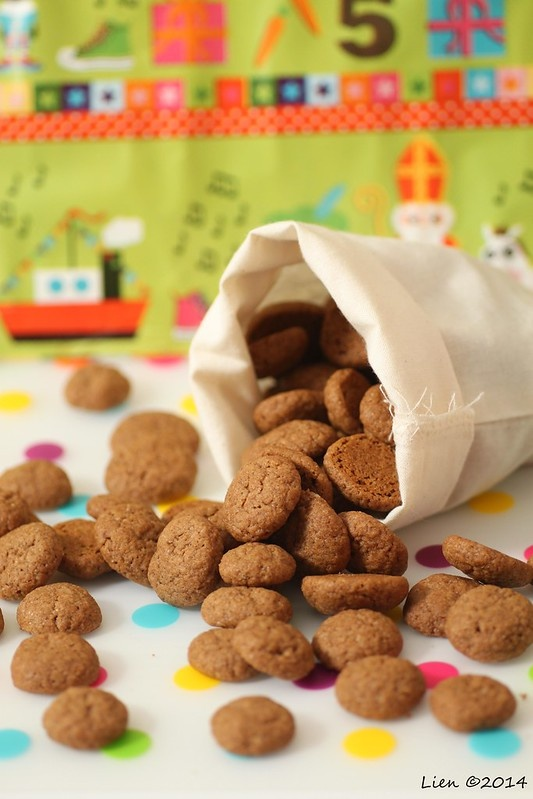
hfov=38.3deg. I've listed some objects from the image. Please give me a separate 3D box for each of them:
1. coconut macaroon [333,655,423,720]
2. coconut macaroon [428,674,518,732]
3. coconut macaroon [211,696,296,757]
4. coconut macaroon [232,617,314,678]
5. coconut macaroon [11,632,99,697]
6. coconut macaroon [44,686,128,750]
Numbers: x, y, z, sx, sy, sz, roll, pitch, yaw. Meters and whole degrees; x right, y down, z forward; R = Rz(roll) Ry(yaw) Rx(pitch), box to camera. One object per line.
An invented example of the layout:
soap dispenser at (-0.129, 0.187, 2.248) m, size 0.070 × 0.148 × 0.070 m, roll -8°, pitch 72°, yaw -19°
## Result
coconut macaroon at (0.100, 0.254, 0.680) m, size 0.072 × 0.033 × 0.045 m, roll 3°, pitch 21°, yaw 10°
coconut macaroon at (0.176, 0.262, 0.665) m, size 0.066 × 0.026 × 0.057 m, roll 12°, pitch 23°, yaw 31°
coconut macaroon at (-0.011, 0.275, 0.655) m, size 0.068 × 0.022 × 0.060 m, roll 12°, pitch 23°, yaw 32°
coconut macaroon at (0.003, 0.223, 0.715) m, size 0.084 × 0.022 × 0.068 m, roll 12°, pitch 41°, yaw -30°
coconut macaroon at (-0.203, 0.255, 0.739) m, size 0.082 × 0.032 × 0.077 m, roll 0°, pitch 20°, yaw 3°
coconut macaroon at (-0.156, 0.268, 0.664) m, size 0.072 × 0.020 × 0.071 m, roll 3°, pitch 24°, yaw -19°
